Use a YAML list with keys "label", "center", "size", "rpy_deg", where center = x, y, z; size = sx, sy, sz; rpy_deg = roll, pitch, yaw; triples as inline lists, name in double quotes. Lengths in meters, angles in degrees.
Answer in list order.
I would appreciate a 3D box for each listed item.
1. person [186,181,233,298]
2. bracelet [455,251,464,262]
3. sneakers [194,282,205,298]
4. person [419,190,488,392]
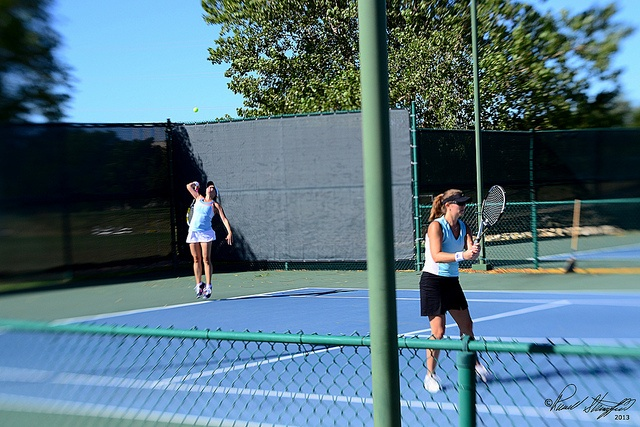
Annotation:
- label: "person"
  center: [-2.719, 0.679, 11.830]
  size: [0.896, 2.785, 1.231]
  rpy_deg: [-6, 9, -16]
- label: "bracelet"
  center: [1.843, 0.583, 6.540]
  size: [0.104, 0.100, 0.110]
  rpy_deg: [-5, -8, 13]
- label: "sneakers"
  center: [-2.880, 1.832, 11.682]
  size: [0.194, 0.488, 0.159]
  rpy_deg: [15, -15, -40]
- label: "person"
  center: [1.794, 1.017, 6.793]
  size: [0.818, 2.615, 1.360]
  rpy_deg: [-2, 8, 12]
